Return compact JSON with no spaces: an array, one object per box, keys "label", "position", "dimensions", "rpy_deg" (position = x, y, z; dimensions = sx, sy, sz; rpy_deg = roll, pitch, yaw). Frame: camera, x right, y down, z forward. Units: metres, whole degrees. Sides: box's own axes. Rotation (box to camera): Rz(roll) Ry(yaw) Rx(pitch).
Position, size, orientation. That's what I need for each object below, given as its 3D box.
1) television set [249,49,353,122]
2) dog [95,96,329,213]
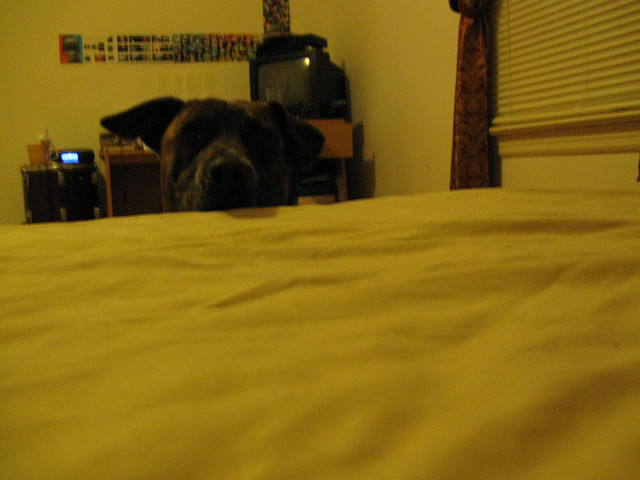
[{"label":"television set","position":[-0.146,-0.987,3.654],"dimensions":[0.674,0.576,0.682],"rpy_deg":[-9,10,-30]},{"label":"dog","position":[-0.200,-0.183,1.151],"dimensions":[0.347,0.242,0.358],"rpy_deg":[-3,3,-10]}]
